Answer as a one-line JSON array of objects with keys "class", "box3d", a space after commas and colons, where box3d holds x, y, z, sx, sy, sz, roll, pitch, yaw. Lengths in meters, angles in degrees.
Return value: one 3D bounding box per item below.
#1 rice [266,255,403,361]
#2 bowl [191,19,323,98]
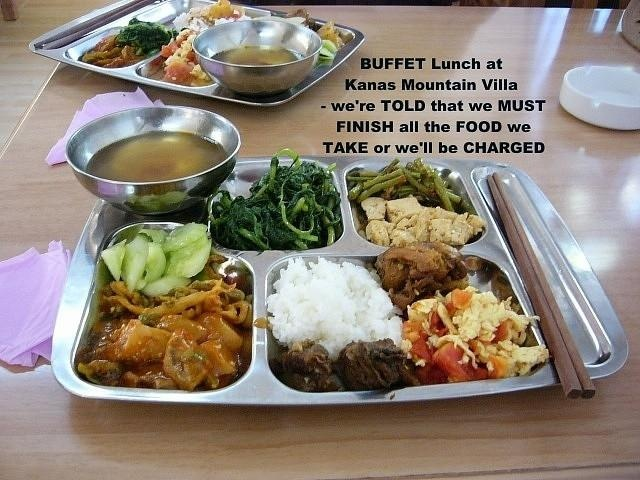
[{"class": "rice", "box3d": [0.056, 0.269, 1.925, 0.445, 0.145, 0.364, -5, 70, -13]}, {"class": "bowl", "box3d": [-0.433, -1.237, 3.212, 1.111, 0.541, 0.751, -6, 30, -11]}]
